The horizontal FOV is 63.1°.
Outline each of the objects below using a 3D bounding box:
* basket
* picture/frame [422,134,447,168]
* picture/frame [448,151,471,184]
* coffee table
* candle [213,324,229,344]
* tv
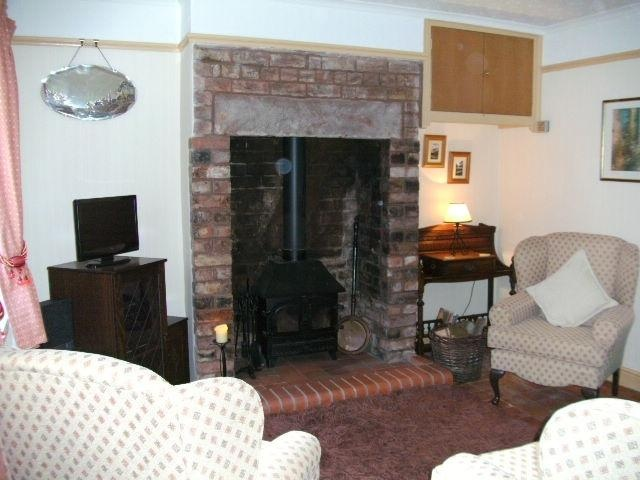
[{"bbox_3d":[1.126,0.946,4.368,0.381,0.351,0.434,-1,6,2],"label":"basket"},{"bbox_3d":[1.099,-0.844,4.971,0.027,0.344,0.290,-3,9,-41],"label":"picture/frame"},{"bbox_3d":[1.371,-0.703,5.103,0.035,0.315,0.267,-7,11,-37],"label":"picture/frame"},{"bbox_3d":[1.286,0.436,4.685,1.122,1.282,0.479,-5,8,-24],"label":"coffee table"},{"bbox_3d":[-0.686,0.658,3.687,0.121,0.127,0.117,-2,1,-42],"label":"candle"},{"bbox_3d":[-1.451,-0.048,3.514,0.118,0.418,0.471,2,6,25],"label":"tv"}]
